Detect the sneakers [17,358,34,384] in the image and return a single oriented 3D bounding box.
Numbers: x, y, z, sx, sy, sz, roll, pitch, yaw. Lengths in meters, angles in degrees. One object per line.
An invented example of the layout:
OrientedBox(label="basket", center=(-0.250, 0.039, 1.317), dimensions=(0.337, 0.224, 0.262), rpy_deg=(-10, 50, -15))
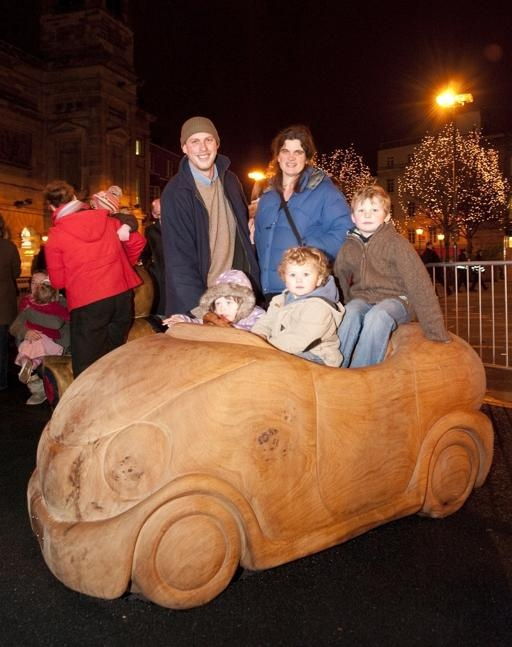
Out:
OrientedBox(label="sneakers", center=(-2.748, 0.568, 6.367), dimensions=(0.143, 0.358, 0.164), rpy_deg=(14, -8, -20))

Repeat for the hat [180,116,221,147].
OrientedBox(label="hat", center=(-0.369, -1.249, 3.452), dimensions=(0.233, 0.171, 0.196), rpy_deg=(-2, 3, -5))
